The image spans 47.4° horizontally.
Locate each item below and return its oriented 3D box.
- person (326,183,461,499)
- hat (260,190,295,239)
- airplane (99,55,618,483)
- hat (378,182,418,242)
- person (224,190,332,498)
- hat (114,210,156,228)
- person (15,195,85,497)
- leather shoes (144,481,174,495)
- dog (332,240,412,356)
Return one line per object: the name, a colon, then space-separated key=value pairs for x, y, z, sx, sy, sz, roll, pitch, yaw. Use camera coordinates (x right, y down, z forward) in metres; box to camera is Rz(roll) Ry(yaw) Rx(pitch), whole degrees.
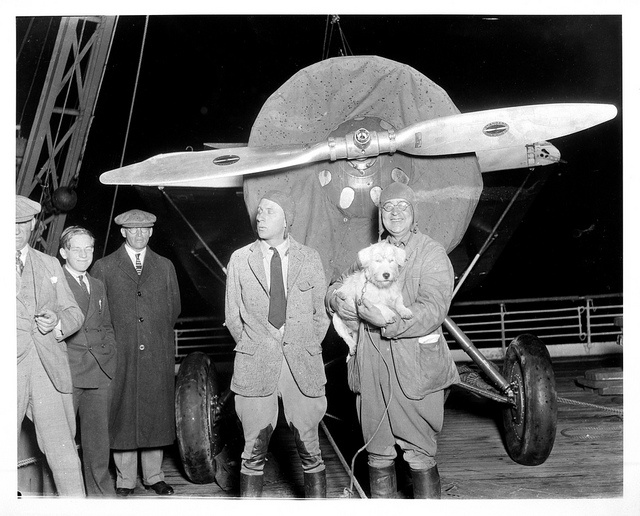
person: x=0.539 y=0.712 z=5.082 sx=0.784 sy=2.306 sz=0.736 roll=-2 pitch=11 yaw=1
hat: x=-0.244 y=-0.306 z=5.001 sx=0.202 sy=0.292 sz=0.287 roll=4 pitch=39 yaw=11
airplane: x=0.312 y=0.955 z=6.558 sx=4.417 sy=3.810 sz=2.975 roll=1 pitch=-8 yaw=0
hat: x=0.521 y=-0.319 z=4.996 sx=0.265 sy=0.425 sz=0.285 roll=-4 pitch=-10 yaw=30
person: x=-0.288 y=0.604 z=4.992 sx=0.716 sy=2.100 sz=0.310 roll=-1 pitch=2 yaw=-9
hat: x=-1.499 y=-0.323 z=5.953 sx=0.360 sy=0.141 sz=0.403 roll=0 pitch=7 yaw=-10
person: x=-1.880 y=0.627 z=5.077 sx=0.444 sy=2.115 sz=0.373 roll=-1 pitch=2 yaw=-19
leather shoes: x=-1.286 y=1.832 z=5.808 sx=0.211 sy=0.099 sz=0.093 roll=-6 pitch=-15 yaw=25
dog: x=0.358 y=0.237 z=4.998 sx=0.315 sy=0.520 sz=0.861 roll=-12 pitch=-11 yaw=-23
